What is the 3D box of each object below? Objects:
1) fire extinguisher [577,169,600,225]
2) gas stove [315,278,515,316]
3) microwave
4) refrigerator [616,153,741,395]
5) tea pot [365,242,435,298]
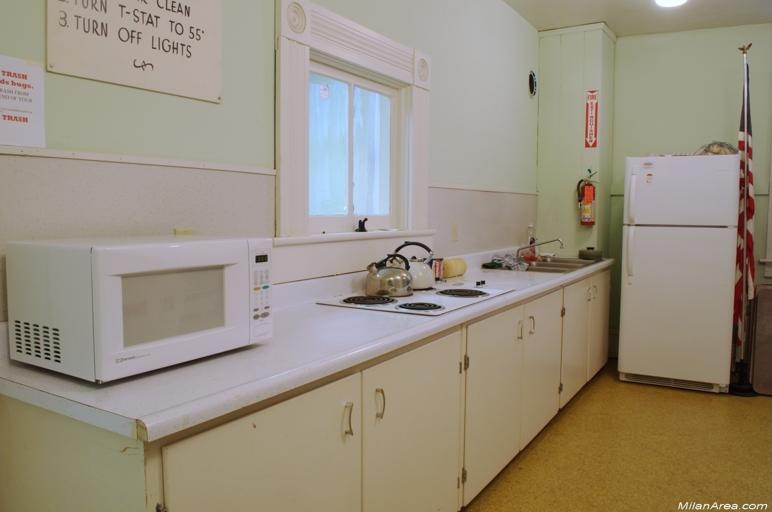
[{"bbox_3d":[1.948,-0.574,5.132,0.184,0.535,0.132,3,9,20],"label":"fire extinguisher"},{"bbox_3d":[0.078,0.176,3.209,1.051,0.085,1.477,3,4,30],"label":"gas stove"},{"bbox_3d":[-0.846,0.173,1.799,0.898,0.444,0.347,-2,9,-13],"label":"microwave"},{"bbox_3d":[2.646,0.122,4.812,0.885,1.961,0.894,2,3,30],"label":"refrigerator"},{"bbox_3d":[0.034,0.085,3.066,0.426,0.321,0.234,2,-3,-32],"label":"tea pot"}]
